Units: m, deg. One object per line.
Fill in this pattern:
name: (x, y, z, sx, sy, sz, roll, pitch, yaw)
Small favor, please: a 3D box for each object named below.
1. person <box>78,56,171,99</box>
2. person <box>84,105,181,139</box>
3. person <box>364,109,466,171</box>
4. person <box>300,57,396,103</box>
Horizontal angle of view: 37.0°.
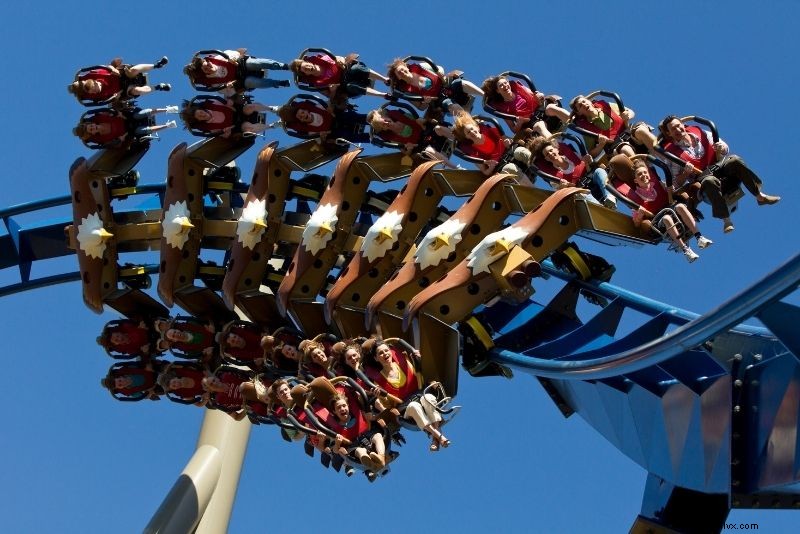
person: (-4.634, -3.134, 19.797, 0.745, 1.504, 0.521, 7, -66, 55)
person: (-4.438, -2.395, 19.612, 1.535, 0.580, 0.611, -3, -37, 14)
person: (0.260, -2.128, 18.819, 1.645, 0.790, 0.598, 23, 1, 12)
person: (-1.034, -3.051, 19.071, 1.444, 0.610, 0.594, 7, -36, -1)
